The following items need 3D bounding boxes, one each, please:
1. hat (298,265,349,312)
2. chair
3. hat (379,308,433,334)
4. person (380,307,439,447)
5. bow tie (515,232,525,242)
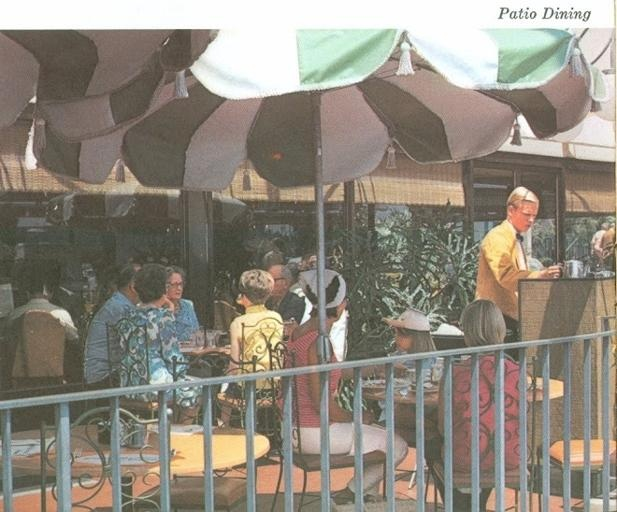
[{"bbox_3d":[0.116,0.196,10.839,0.309,0.329,0.118,16,44,26],"label":"hat"},{"bbox_3d":[0.347,1.208,9.495,4.650,1.249,1.498,-1,-4,-30],"label":"chair"},{"bbox_3d":[0.722,0.505,10.973,0.300,0.131,0.201,3,-3,7],"label":"hat"},{"bbox_3d":[0.739,0.907,11.189,0.490,1.010,0.474,-5,13,-20],"label":"person"},{"bbox_3d":[1.944,-0.169,13.496,0.101,0.030,0.030,24,23,-45],"label":"bow tie"}]
